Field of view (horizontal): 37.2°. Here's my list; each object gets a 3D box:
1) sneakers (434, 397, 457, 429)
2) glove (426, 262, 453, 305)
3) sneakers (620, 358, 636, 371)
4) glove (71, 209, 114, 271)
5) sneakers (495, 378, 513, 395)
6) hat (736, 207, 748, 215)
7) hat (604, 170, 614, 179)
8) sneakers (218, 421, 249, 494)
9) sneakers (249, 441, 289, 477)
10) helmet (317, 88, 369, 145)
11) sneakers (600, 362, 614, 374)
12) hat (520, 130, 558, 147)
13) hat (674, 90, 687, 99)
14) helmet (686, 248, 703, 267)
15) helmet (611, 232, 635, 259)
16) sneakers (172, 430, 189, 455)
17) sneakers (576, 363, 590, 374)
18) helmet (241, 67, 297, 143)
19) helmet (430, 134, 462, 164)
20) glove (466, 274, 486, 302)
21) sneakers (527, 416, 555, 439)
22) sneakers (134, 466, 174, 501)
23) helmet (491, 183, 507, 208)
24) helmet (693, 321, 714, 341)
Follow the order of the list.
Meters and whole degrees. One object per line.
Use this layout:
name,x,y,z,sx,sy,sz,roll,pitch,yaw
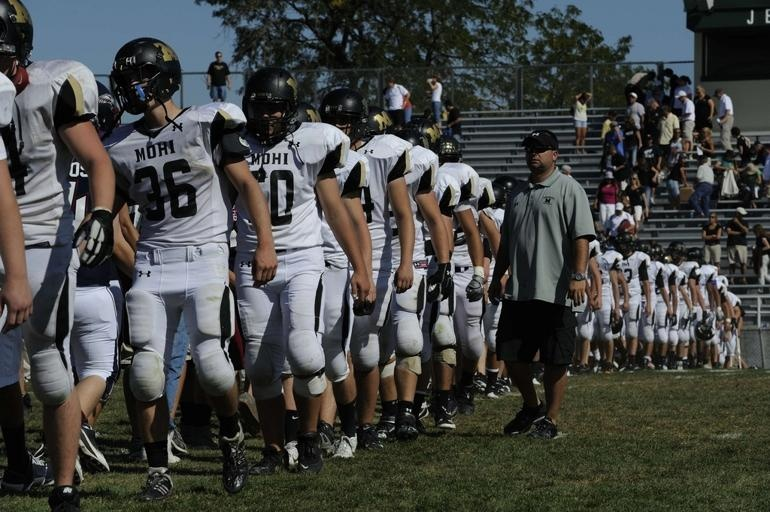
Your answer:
sneakers,0.525,1.435,10.099,0.120,0.217,0.313,2,-17,-6
glove,0.483,0.268,9.909,0.308,0.437,0.252,2,-13,-2
sneakers,3.862,1.722,18.048,0.260,0.159,0.621,-1,2,11
glove,-1.862,-0.106,7.329,0.244,0.374,0.180,-2,2,-17
sneakers,1.353,1.511,12.963,0.114,0.152,0.350,-3,-14,8
hat,7.141,-0.868,22.840,0.296,0.149,0.222,-1,8,-34
hat,4.349,-1.539,22.272,0.182,0.105,0.182,0,3,-38
sneakers,-1.059,1.417,7.963,0.151,0.472,0.196,-6,-22,1
sneakers,-0.850,1.525,8.489,0.116,0.153,0.347,0,-6,24
helmet,-0.308,-1.140,9.420,0.378,0.493,0.426,-5,-3,28
sneakers,3.364,1.721,17.259,0.139,0.165,0.389,-1,-17,11
hat,1.364,-0.998,9.843,0.245,0.131,0.166,14,-5,-40
hat,6.436,-3.465,24.765,0.233,0.126,0.163,1,-5,-38
helmet,5.247,0.056,19.351,0.256,0.336,0.329,5,8,7
helmet,3.700,-0.128,17.556,0.352,0.370,0.280,7,5,-1
sneakers,-1.609,1.489,9.005,0.078,0.110,0.241,-14,-33,9
sneakers,2.931,1.696,16.867,0.114,0.142,0.350,-2,-10,20
helmet,-0.832,-1.089,8.420,0.443,0.588,0.594,1,13,9
helmet,0.631,-1.069,11.581,0.246,0.299,0.313,-1,-14,-13
glove,0.822,0.313,10.366,0.138,0.238,0.122,7,-27,9
sneakers,1.320,1.425,9.475,0.242,0.171,0.293,-1,2,7
sneakers,-1.559,1.552,7.813,0.229,0.202,0.243,-2,2,-12
helmet,1.381,-0.679,13.175,0.198,0.267,0.262,7,5,15
helmet,5.262,1.278,18.811,0.248,0.327,0.302,9,-18,8
